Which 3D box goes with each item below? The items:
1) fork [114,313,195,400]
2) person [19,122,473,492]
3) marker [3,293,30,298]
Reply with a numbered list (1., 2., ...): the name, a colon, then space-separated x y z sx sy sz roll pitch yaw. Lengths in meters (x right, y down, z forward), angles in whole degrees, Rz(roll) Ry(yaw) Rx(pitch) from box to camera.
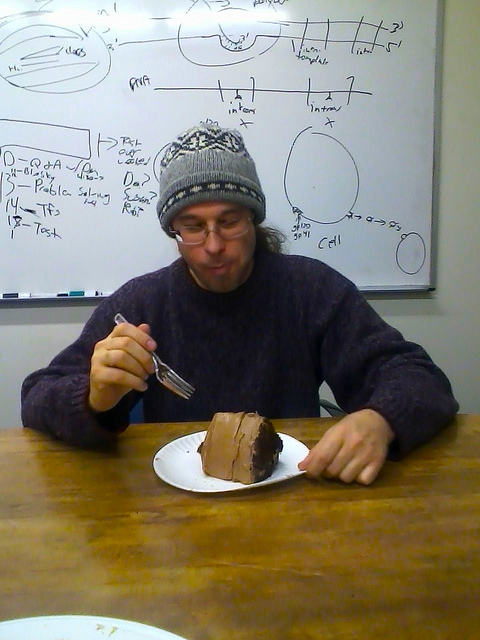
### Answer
1. fork: -0.159 0.068 0.998 0.027 0.212 0.036 -20 30 33
2. person: -0.052 -0.104 1.428 0.984 0.871 0.688 -2 12 3
3. marker: -0.837 -0.092 1.996 0.092 0.021 0.017 -1 3 1
